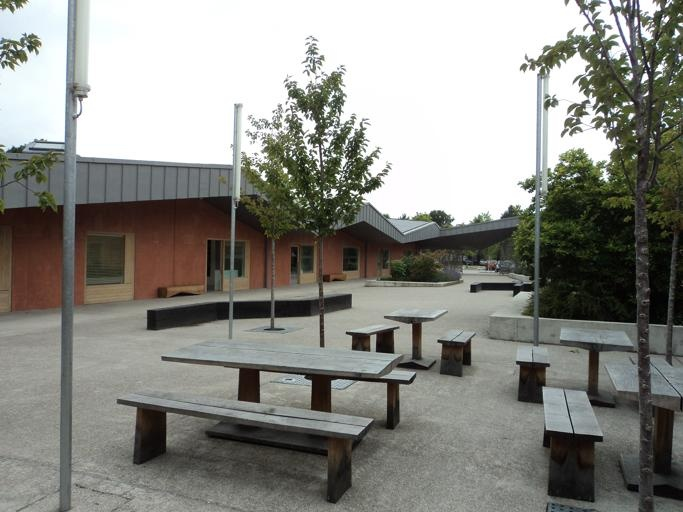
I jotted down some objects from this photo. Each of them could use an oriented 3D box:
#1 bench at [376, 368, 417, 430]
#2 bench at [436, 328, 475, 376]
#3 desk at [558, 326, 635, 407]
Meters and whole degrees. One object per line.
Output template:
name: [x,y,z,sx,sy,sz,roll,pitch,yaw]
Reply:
bench: [0.580,1.661,6.543,0.555,0.590,0.452,0,2,23]
bench: [1.815,1.539,8.882,0.406,0.547,1.125,3,1,21]
desk: [3.499,1.352,7.719,0.856,0.998,1.144,-1,1,9]
